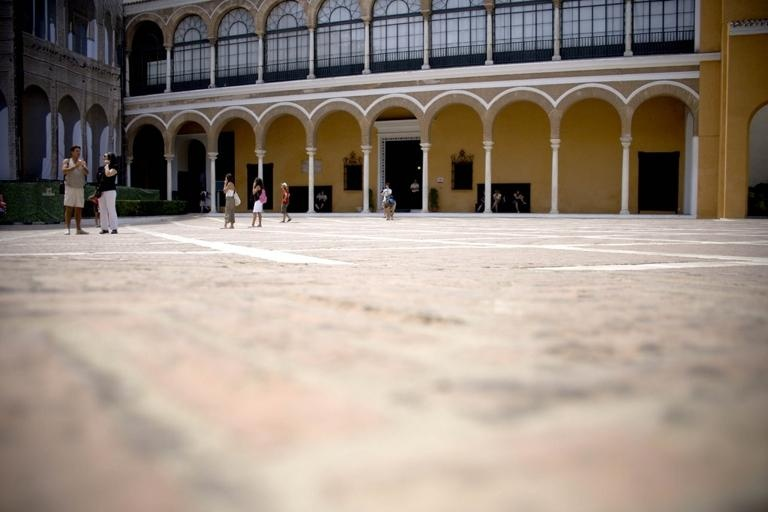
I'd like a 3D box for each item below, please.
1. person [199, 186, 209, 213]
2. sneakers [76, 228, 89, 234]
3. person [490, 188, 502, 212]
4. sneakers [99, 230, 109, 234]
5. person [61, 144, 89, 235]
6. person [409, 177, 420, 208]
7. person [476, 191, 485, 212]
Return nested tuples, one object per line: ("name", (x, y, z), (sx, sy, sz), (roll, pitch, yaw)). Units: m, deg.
("person", (-9.776, -2.966, 31.667), (0.476, 1.209, 1.138), (-1, 5, -16))
("sneakers", (-5.726, -0.451, 11.017), (0.309, 0.142, 0.108), (-4, 10, -30))
("person", (5.116, -2.468, 26.198), (0.504, 1.041, 0.461), (2, 5, 10))
("sneakers", (-5.095, -0.423, 10.575), (0.169, 0.079, 0.058), (5, 5, 8))
("person", (-5.773, -1.207, 10.851), (0.397, 1.631, 2.080), (-2, 6, -28))
("person", (1.534, -2.944, 28.212), (0.564, 1.412, 0.157), (2, 5, 17))
("person", (4.404, -2.467, 26.584), (0.352, 0.926, 0.250), (1, 4, -2))
